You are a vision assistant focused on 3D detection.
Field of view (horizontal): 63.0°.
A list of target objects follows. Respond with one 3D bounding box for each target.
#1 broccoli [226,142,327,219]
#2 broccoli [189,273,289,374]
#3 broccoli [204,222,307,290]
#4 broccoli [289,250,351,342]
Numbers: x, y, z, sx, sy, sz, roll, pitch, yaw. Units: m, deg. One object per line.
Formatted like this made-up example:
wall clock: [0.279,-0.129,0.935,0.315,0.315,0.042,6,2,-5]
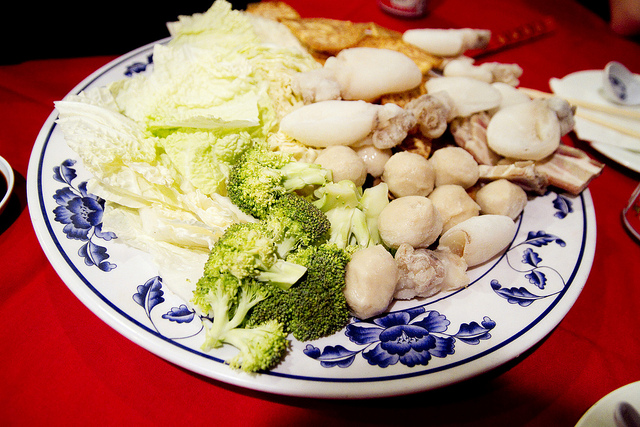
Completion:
broccoli: [-0.236,-0.156,2.519,0.376,0.220,0.373,-6,79,-9]
broccoli: [-0.321,0.444,2.141,0.372,0.162,0.419,31,71,3]
broccoli: [-0.234,0.247,2.312,0.388,0.296,0.221,18,102,35]
broccoli: [0.009,0.349,2.248,0.247,0.102,0.335,9,77,-11]
